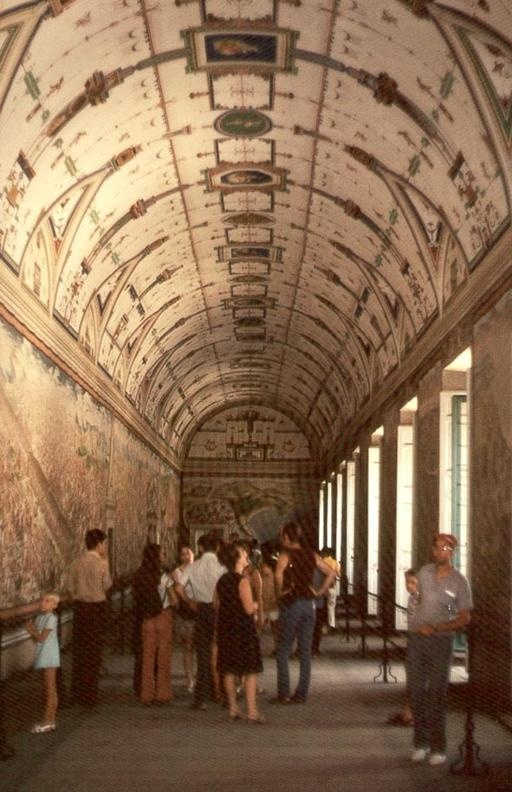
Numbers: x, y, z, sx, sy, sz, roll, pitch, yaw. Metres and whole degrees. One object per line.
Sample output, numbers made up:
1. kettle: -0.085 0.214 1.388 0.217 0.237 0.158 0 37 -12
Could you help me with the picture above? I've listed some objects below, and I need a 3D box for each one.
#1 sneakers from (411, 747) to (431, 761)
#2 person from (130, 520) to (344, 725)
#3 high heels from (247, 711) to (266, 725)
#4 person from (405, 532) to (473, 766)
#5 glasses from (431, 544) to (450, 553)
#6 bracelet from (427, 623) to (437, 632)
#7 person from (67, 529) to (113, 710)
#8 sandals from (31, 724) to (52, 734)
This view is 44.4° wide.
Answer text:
1. sneakers: 1.206 2.646 4.635 0.135 0.082 0.123 0 -14 1
2. person: 0.007 2.387 6.823 1.070 1.982 1.595 -6 -16 23
3. high heels: 0.001 3.098 6.046 0.180 0.091 0.065 -16 -18 37
4. person: 1.385 1.915 4.803 0.465 1.664 0.701 2 -15 -6
5. glasses: 1.412 1.146 4.769 0.075 0.026 0.077 -6 -41 30
6. bracelet: 1.320 1.741 4.723 0.049 0.049 0.013 6 0 -26
7. person: -1.962 2.564 7.377 0.447 1.944 0.565 5 -15 -15
8. sandals: -1.880 2.947 5.559 0.182 0.072 0.067 10 -15 -9
